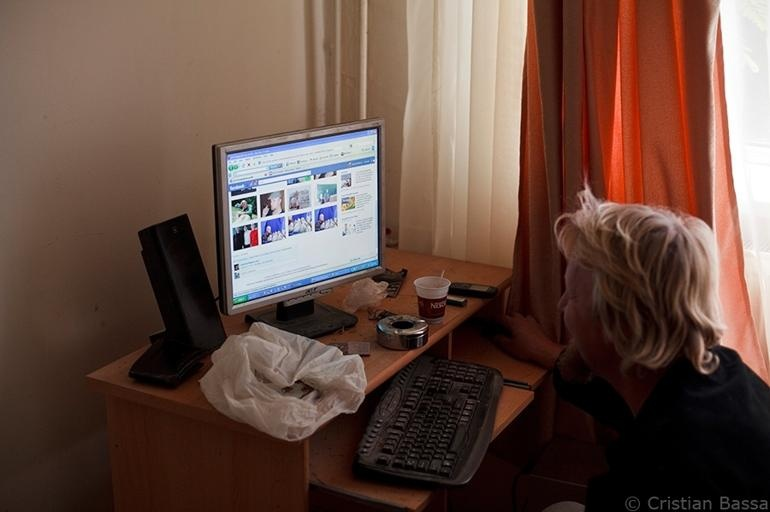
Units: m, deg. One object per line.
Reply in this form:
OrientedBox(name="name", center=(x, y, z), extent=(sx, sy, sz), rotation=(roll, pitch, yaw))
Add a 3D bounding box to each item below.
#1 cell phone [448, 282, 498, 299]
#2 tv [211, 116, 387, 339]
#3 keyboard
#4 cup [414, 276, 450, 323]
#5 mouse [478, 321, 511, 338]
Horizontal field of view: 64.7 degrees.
OrientedBox(name="cell phone", center=(0.296, 0.106, 1.997), extent=(0.129, 0.026, 0.066), rotation=(7, 18, 19))
OrientedBox(name="tv", center=(-0.249, -0.074, 1.839), extent=(0.276, 0.596, 0.616), rotation=(19, 25, 39))
OrientedBox(name="keyboard", center=(0.142, 0.427, 1.659), extent=(0.317, 0.047, 0.530), rotation=(5, 23, 22))
OrientedBox(name="cup", center=(0.123, 0.160, 1.849), extent=(0.111, 0.115, 0.116), rotation=(-7, 1, 0))
OrientedBox(name="mouse", center=(0.376, 0.252, 2.101), extent=(0.046, 0.020, 0.084), rotation=(-14, 15, -19))
